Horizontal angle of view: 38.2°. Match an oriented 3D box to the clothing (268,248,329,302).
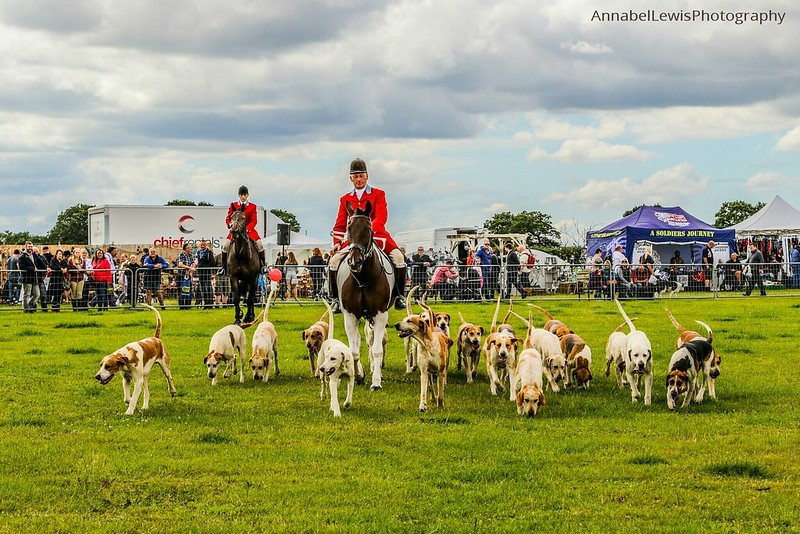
[{"bbox_3d":[-3.673,0.414,43.465,2.403,1.407,2.334,0,0,-6],"label":"clothing"}]
